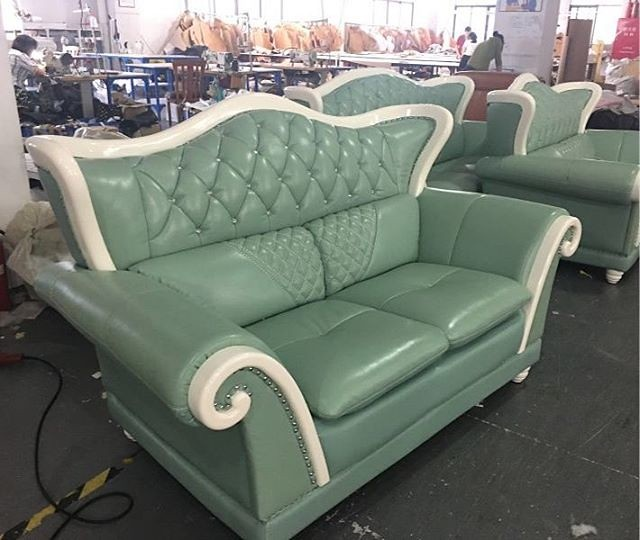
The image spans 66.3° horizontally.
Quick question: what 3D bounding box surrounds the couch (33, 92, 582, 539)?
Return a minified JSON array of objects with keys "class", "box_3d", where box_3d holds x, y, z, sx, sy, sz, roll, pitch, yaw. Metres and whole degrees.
[{"class":"couch","box_3d":[-0.029,0.182,1.682,1.474,0.953,0.789,-24,39,-38]}]
